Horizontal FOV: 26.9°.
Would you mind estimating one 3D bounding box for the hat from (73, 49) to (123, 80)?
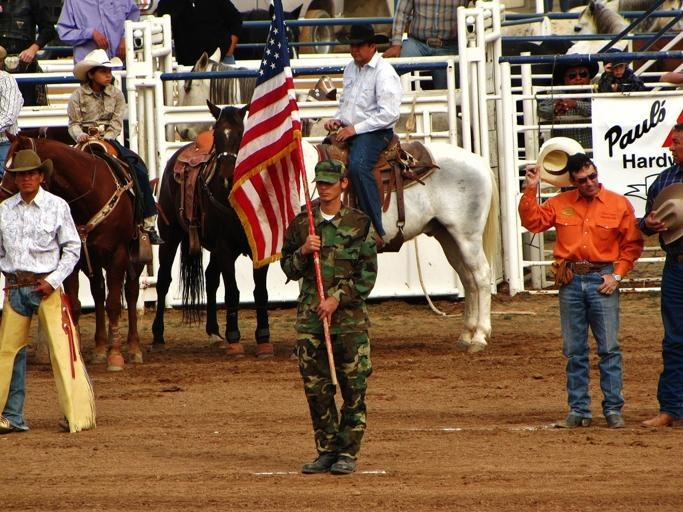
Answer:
[{"bbox_3d":[-2.756,-2.120,15.861,0.399,0.338,0.421,-2,10,-2],"label":"hat"}]

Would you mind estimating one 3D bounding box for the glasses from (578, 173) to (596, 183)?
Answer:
[{"bbox_3d":[2.283,-0.723,13.188,0.191,0.087,0.064,-5,11,-21],"label":"glasses"}]

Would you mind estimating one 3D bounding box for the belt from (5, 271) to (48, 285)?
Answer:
[{"bbox_3d":[-2.958,0.203,13.337,0.423,0.131,0.132,2,10,17],"label":"belt"}]

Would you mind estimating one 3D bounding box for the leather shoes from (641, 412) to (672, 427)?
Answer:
[{"bbox_3d":[2.874,1.508,13.194,0.328,0.130,0.107,0,2,-8],"label":"leather shoes"}]

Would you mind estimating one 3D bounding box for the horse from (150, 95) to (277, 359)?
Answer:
[{"bbox_3d":[-1.592,-0.321,16.334,0.861,2.887,1.525,-8,12,-33],"label":"horse"}]

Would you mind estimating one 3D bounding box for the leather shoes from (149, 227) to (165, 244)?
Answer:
[{"bbox_3d":[-2.086,-0.237,16.190,0.145,0.170,0.410,-4,-5,-16],"label":"leather shoes"}]

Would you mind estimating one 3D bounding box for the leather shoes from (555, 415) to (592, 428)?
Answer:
[{"bbox_3d":[2.153,1.531,13.295,0.338,0.133,0.127,0,1,-8],"label":"leather shoes"}]

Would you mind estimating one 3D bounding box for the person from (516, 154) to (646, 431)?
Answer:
[{"bbox_3d":[2.259,0.302,13.276,1.048,2.490,0.637,0,10,11],"label":"person"}]

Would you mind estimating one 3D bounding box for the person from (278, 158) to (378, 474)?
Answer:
[{"bbox_3d":[-0.071,0.511,12.248,0.772,2.645,0.636,-2,10,-1],"label":"person"}]

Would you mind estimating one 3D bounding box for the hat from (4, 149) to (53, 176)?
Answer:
[{"bbox_3d":[-2.948,-0.895,13.503,0.429,0.249,0.600,-4,10,-13],"label":"hat"}]

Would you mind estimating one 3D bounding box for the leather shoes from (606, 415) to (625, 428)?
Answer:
[{"bbox_3d":[2.526,1.512,13.185,0.168,0.120,0.117,1,10,15],"label":"leather shoes"}]

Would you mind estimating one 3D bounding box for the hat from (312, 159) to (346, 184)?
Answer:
[{"bbox_3d":[-0.098,-0.728,12.208,0.243,0.191,0.189,-3,10,-7],"label":"hat"}]

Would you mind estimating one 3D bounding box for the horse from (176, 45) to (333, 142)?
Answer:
[{"bbox_3d":[-1.047,-1.955,19.142,2.523,1.660,0.699,-1,-9,32],"label":"horse"}]
